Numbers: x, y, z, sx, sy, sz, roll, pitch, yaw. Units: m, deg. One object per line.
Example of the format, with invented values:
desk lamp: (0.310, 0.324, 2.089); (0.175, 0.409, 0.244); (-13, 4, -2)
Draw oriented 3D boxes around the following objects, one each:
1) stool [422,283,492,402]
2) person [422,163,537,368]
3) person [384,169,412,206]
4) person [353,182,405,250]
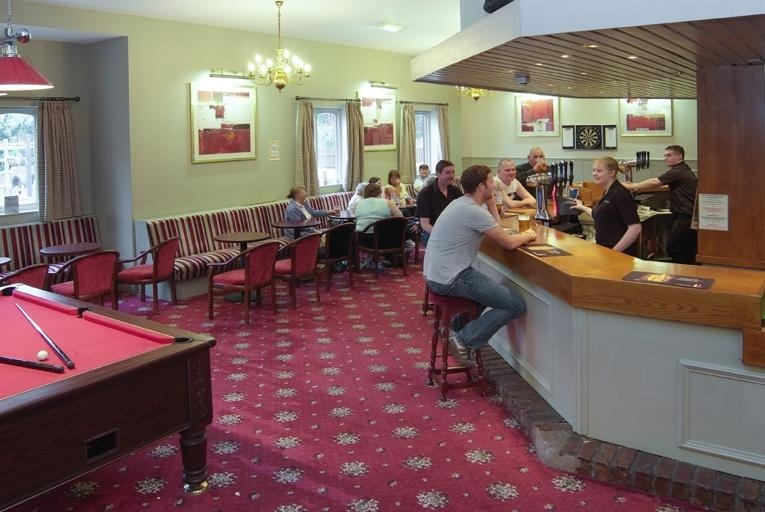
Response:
stool: (0.690, 0.733, 5.439); (0.930, 1.338, 0.927); (-1, 6, 9)
person: (0.824, 0.020, 4.824); (0.923, 1.589, 0.467); (2, 16, 14)
person: (0.277, -1.337, 10.919); (0.490, 0.693, 0.560); (5, 24, 35)
person: (-0.236, -0.695, 9.257); (0.978, 1.121, 1.034); (1, 4, 14)
